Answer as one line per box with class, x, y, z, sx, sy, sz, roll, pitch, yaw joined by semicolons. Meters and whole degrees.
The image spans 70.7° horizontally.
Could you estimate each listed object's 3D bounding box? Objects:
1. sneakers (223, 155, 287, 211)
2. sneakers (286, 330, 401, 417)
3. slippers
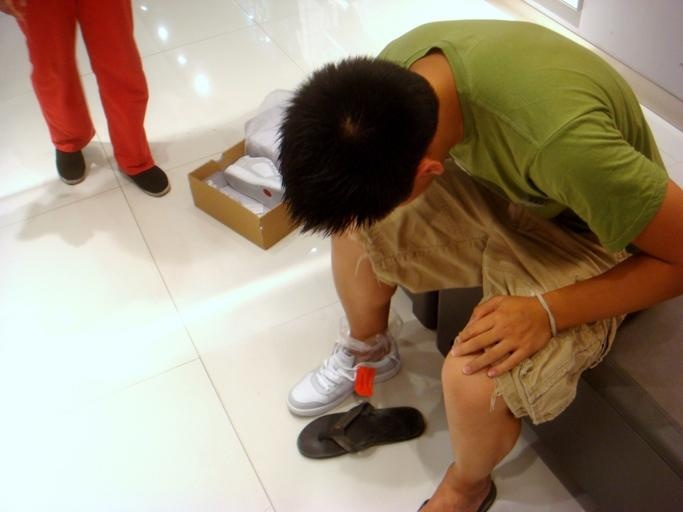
sneakers;-0.301;-0.303;1.876;0.275;0.101;0.169;26;47;14
sneakers;0.003;0.346;1.474;0.417;0.185;0.161;-31;70;2
slippers;0.053;0.475;1.356;0.348;0.093;0.142;-7;37;-5
